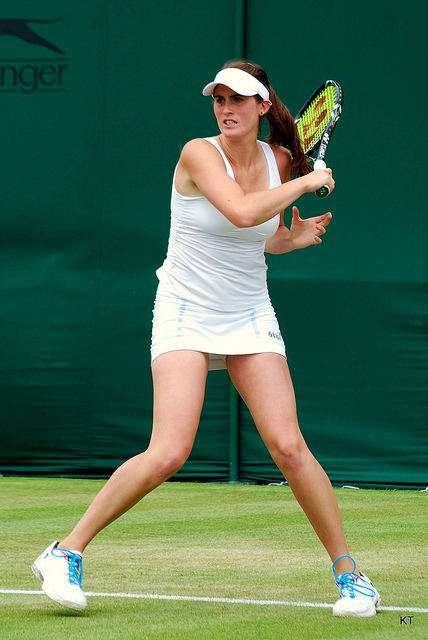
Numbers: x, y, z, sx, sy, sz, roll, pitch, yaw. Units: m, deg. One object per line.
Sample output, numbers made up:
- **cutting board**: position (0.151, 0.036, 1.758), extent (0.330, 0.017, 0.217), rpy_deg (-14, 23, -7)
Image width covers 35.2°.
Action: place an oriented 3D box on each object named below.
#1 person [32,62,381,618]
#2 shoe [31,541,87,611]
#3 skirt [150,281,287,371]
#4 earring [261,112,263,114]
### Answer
- **person**: position (0.054, -0.045, 1.889), extent (0.806, 1.435, 0.953), rpy_deg (1, 2, 11)
- **shoe**: position (-0.361, 0.597, 1.565), extent (0.110, 0.137, 0.176), rpy_deg (0, 2, -17)
- **skirt**: position (0.010, 0.005, 1.806), extent (0.347, 0.194, 0.201), rpy_deg (0, 2, -5)
- **earring**: position (0.129, -0.558, 1.816), extent (0.008, 0.006, 0.002), rpy_deg (6, 5, 5)
